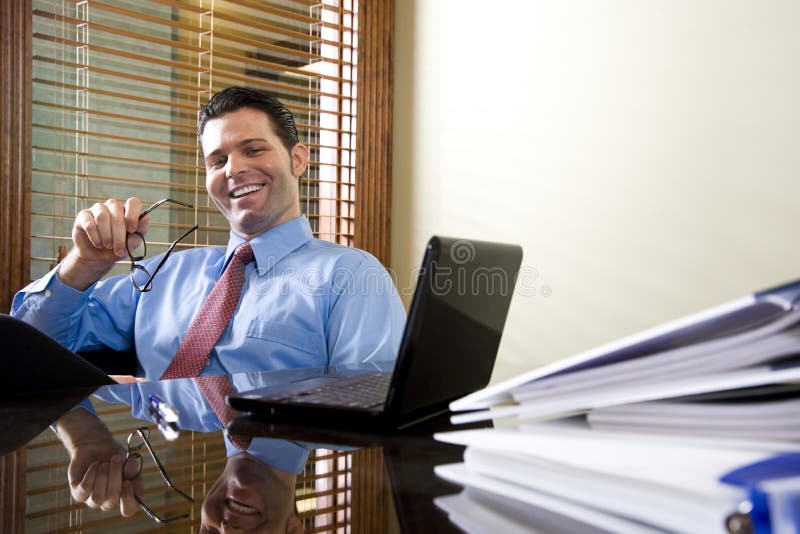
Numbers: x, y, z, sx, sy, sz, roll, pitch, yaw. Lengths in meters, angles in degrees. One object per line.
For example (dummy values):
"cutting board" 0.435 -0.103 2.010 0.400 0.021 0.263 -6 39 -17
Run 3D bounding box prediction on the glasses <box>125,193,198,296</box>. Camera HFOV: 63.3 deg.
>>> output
"glasses" -0.622 0.005 1.717 0.054 0.185 0.174 40 57 -3

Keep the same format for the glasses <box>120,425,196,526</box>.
"glasses" -0.261 0.214 0.680 0.020 0.064 0.067 -32 62 -19
